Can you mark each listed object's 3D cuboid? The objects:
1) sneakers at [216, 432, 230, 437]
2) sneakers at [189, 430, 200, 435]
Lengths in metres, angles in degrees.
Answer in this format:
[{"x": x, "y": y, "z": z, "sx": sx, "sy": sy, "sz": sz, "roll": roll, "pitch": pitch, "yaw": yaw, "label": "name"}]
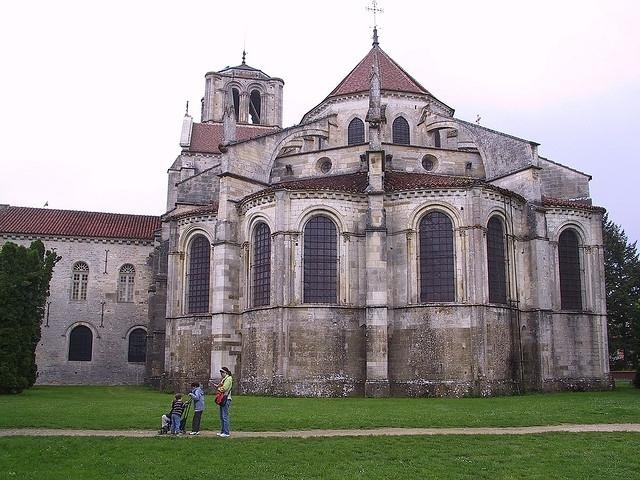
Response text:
[{"x": -3.421, "y": 6.884, "z": 24.367, "sx": 0.343, "sy": 0.135, "sz": 0.179, "roll": 12, "pitch": -22, "yaw": -4, "label": "sneakers"}, {"x": -4.502, "y": 6.882, "z": 24.661, "sx": 0.337, "sy": 0.132, "sz": 0.117, "roll": 8, "pitch": -7, "yaw": -6, "label": "sneakers"}]
